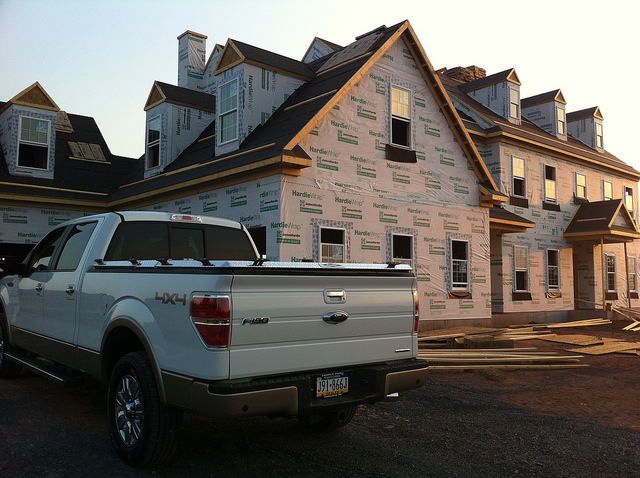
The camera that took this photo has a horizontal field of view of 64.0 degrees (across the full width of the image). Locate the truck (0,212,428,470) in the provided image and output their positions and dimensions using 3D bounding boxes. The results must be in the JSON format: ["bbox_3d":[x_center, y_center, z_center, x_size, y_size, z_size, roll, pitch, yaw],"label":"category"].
[{"bbox_3d":[-2.171,1.035,7.033,6.745,1.896,2.457,1,-2,37],"label":"truck"}]

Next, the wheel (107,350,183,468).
[{"bbox_3d":[-1.769,1.775,5.259,0.446,1.331,1.179,7,-11,-42],"label":"wheel"}]
